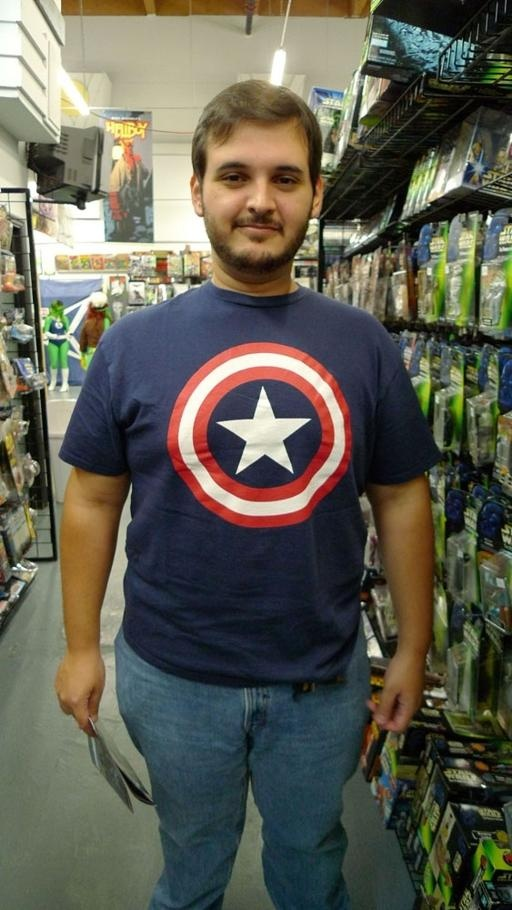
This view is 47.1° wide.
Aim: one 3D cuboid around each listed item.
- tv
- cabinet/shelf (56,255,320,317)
[{"bbox_3d":[-1.502,-2.357,4.775,0.430,0.635,0.595,5,9,36],"label":"tv"},{"bbox_3d":[-0.933,-2.475,9.285,3.856,1.014,0.655,-4,14,5],"label":"cabinet/shelf"}]
